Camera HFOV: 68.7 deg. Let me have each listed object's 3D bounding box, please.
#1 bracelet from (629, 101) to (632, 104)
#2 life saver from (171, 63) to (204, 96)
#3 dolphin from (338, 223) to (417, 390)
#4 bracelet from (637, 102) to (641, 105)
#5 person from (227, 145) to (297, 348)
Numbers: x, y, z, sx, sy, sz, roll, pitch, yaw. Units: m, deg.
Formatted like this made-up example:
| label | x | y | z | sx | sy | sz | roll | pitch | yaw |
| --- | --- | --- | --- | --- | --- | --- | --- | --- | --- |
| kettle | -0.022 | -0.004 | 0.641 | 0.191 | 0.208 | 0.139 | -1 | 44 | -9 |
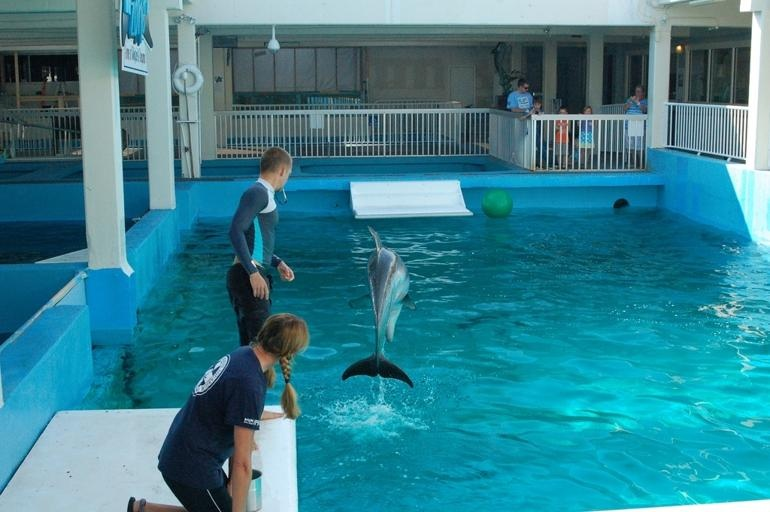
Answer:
| label | x | y | z | sx | sy | sz | roll | pitch | yaw |
| --- | --- | --- | --- | --- | --- | --- | --- | --- | --- |
| bracelet | 7.037 | -4.391 | 16.063 | 0.069 | 0.088 | 0.283 | 7 | 17 | 14 |
| life saver | -4.849 | -4.348 | 13.877 | 0.704 | 0.740 | 0.422 | -3 | 15 | -10 |
| dolphin | 0.009 | 0.469 | 4.510 | 0.498 | 1.389 | 0.723 | 1 | 15 | 0 |
| bracelet | 7.195 | -4.307 | 15.876 | 0.081 | 0.074 | 0.023 | 4 | 7 | 8 |
| person | -1.054 | -0.054 | 4.753 | 0.638 | 1.653 | 0.602 | 0 | 18 | -13 |
